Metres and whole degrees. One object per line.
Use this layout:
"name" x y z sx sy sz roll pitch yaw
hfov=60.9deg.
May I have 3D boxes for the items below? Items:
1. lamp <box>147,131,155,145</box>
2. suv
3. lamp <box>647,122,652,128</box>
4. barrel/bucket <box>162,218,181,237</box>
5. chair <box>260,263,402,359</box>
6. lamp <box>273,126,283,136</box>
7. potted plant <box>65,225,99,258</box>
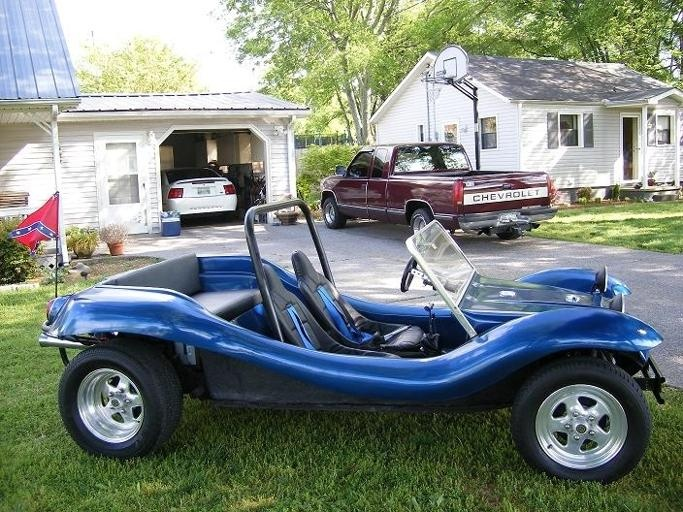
"lamp" -5.057 -3.105 15.299 0.202 0.346 0.098 -7 12 -19
"suv" 0.175 0.652 4.475 4.039 1.606 2.292 -1 5 12
"lamp" 12.366 -5.201 23.160 0.269 0.239 0.067 6 2 6
"barrel/bucket" -4.541 -0.756 15.278 0.473 0.436 0.474 2 6 0
"chair" 0.120 0.344 4.653 0.996 0.813 0.594 1 16 28
"lamp" -1.899 -3.666 16.938 0.311 0.277 0.162 0 3 -24
"potted plant" -5.537 -0.329 12.265 0.826 0.666 0.797 -5 10 -21
